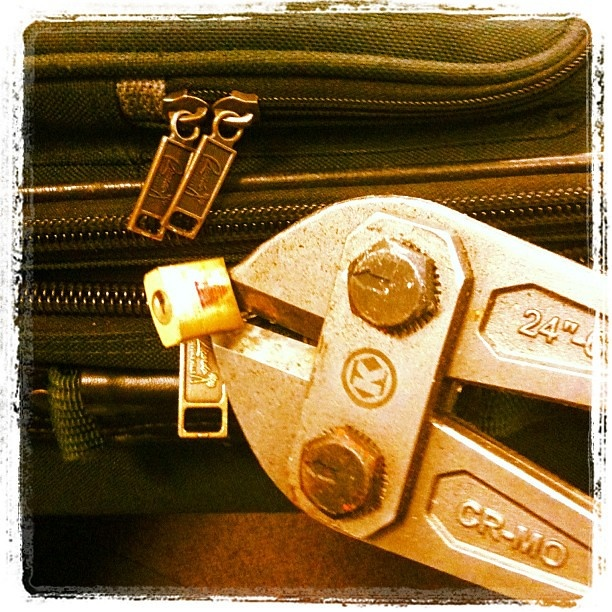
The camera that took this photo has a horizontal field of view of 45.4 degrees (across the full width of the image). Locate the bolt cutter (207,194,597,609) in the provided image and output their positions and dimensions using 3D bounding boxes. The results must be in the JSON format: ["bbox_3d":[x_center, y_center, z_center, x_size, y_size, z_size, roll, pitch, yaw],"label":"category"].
[{"bbox_3d":[0.106,0.077,0.697,0.424,0.190,0.301,19,64,2],"label":"bolt cutter"}]

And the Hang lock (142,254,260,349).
[{"bbox_3d":[-0.106,0.003,0.709,0.107,0.022,0.102,20,43,23],"label":"Hang lock"}]
